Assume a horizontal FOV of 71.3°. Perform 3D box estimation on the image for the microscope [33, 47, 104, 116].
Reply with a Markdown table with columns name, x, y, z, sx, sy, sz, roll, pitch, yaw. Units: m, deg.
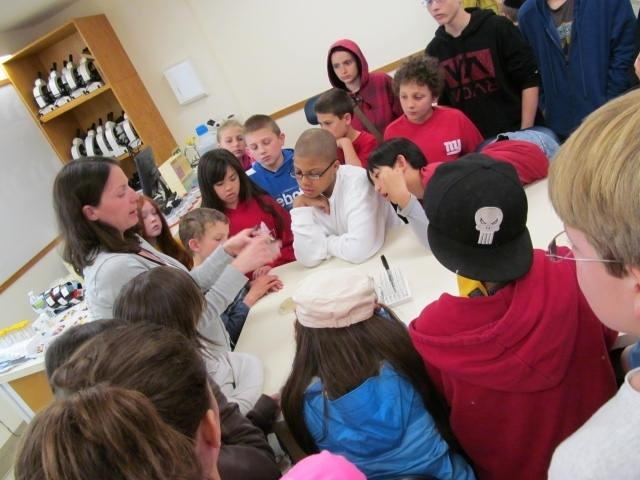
| name | x | y | z | sx | sy | sz | roll | pitch | yaw |
| --- | --- | --- | --- | --- | --- | --- | --- | --- | --- |
| microscope | -2.610 | -1.634 | 4.556 | 0.749 | 0.523 | 0.428 | -23 | 19 | 8 |

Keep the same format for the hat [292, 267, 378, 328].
| name | x | y | z | sx | sy | sz | roll | pitch | yaw |
| --- | --- | --- | --- | --- | --- | --- | --- | --- | --- |
| hat | 0.023 | 0.165 | 1.501 | 0.249 | 0.183 | 0.286 | 1 | 26 | -10 |

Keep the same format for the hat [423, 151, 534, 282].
| name | x | y | z | sx | sy | sz | roll | pitch | yaw |
| --- | --- | --- | --- | --- | --- | --- | --- | --- | --- |
| hat | 0.455 | -0.090 | 1.266 | 0.267 | 0.217 | 0.413 | -1 | 52 | 4 |

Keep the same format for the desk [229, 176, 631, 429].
| name | x | y | z | sx | sy | sz | roll | pitch | yaw |
| --- | --- | --- | --- | --- | --- | --- | --- | --- | --- |
| desk | 0.143 | 0.431 | 1.640 | 1.489 | 0.839 | 0.773 | -1 | 24 | -5 |
